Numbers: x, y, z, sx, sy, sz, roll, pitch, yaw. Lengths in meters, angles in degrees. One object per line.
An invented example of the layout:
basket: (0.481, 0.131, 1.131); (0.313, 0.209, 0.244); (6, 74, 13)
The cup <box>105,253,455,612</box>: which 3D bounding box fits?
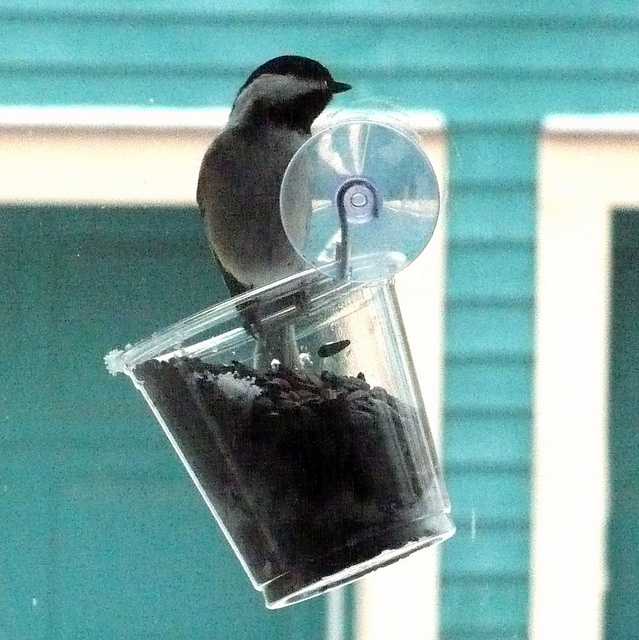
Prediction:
cup: (-0.045, 0.115, 1.738); (0.326, 0.301, 0.339); (-25, -13, -6)
